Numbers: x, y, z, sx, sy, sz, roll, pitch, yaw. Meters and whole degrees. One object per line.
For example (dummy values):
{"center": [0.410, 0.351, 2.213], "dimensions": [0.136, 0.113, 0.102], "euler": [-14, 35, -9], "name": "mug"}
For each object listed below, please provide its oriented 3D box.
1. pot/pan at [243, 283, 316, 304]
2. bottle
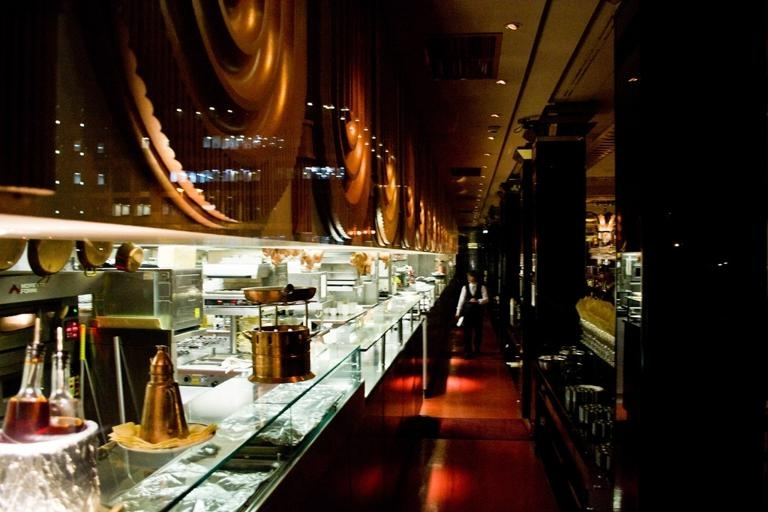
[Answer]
{"center": [-0.537, 0.174, 2.807], "dimensions": [0.354, 0.098, 0.348], "euler": [0, -1, -21], "name": "pot/pan"}
{"center": [-0.908, 0.353, 1.554], "dimensions": [0.193, 0.234, 0.168], "euler": [3, 2, 24], "name": "bottle"}
